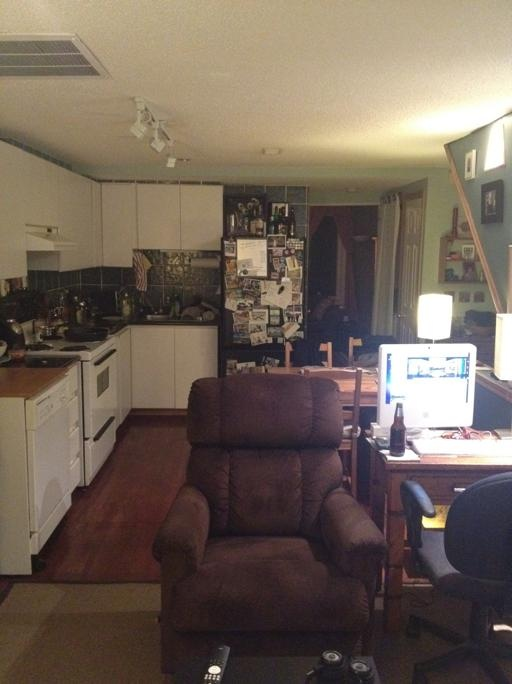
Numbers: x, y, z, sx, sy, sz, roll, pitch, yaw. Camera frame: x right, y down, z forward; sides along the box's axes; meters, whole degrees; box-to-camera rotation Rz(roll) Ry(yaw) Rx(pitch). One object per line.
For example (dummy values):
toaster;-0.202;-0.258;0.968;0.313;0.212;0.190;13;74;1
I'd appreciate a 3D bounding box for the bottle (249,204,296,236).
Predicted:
bottle;0.155;-1.249;5.747;0.476;0.360;0.314;-1;7;-9

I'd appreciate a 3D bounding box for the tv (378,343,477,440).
tv;0.775;0.222;2.593;0.430;0.378;0.060;0;5;-1

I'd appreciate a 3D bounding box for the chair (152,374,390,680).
chair;0.047;0.795;2.393;0.792;1.042;1.089;1;6;2

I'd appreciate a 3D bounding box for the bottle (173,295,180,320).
bottle;-0.868;-0.380;6.175;0.075;0.224;0.176;-1;7;-8

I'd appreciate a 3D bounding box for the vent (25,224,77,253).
vent;-1.417;-0.733;3.961;0.236;0.194;0.721;-2;7;-11

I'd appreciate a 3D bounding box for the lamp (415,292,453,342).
lamp;1.076;-0.147;3.430;0.174;0.278;0.178;3;8;26

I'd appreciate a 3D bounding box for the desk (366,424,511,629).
desk;0.647;0.734;2.673;0.857;0.875;0.665;0;2;-3
